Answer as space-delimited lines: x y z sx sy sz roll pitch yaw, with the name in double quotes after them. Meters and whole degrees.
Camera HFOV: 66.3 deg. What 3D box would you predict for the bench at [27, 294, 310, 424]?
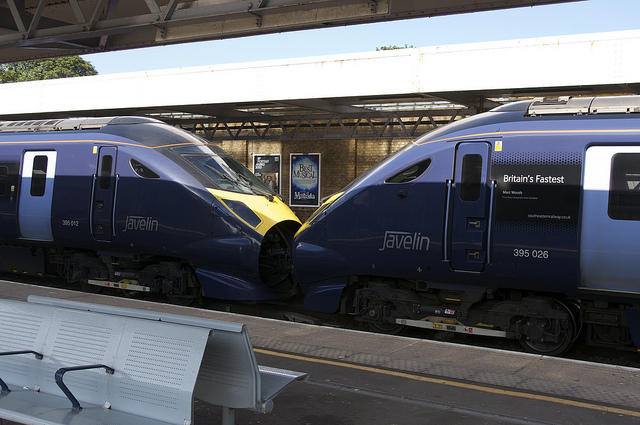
-1.600 1.586 5.181 1.918 0.640 0.611 1 1 26 "bench"
